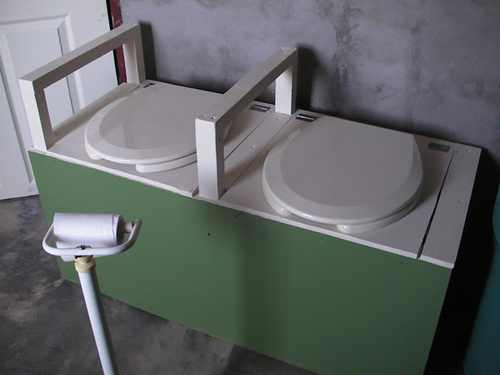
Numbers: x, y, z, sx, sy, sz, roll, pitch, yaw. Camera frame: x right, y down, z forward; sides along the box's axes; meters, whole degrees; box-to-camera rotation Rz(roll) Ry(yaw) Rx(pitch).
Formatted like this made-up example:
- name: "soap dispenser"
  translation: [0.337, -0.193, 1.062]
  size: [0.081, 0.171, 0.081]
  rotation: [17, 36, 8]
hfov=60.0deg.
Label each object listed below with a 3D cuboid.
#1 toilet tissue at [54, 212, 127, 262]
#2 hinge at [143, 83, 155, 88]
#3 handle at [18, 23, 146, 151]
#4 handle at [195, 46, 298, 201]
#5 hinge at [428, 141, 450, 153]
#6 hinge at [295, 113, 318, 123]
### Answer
- name: "toilet tissue"
  translation: [-0.376, 0.108, 1.007]
  size: [0.168, 0.097, 0.077]
  rotation: [0, 0, 5]
- name: "hinge"
  translation: [-0.402, -0.402, 1.701]
  size: [0.026, 0.007, 0.029]
  rotation: [26, 49, 28]
- name: "handle"
  translation: [-0.629, -0.405, 1.639]
  size: [0.067, 0.289, 0.525]
  rotation: [20, 51, 18]
- name: "handle"
  translation: [0.001, -0.203, 1.400]
  size: [0.101, 0.283, 0.548]
  rotation: [16, 55, 19]
- name: "hinge"
  translation: [0.626, -0.135, 1.425]
  size: [0.049, 0.012, 0.037]
  rotation: [16, 46, 25]
- name: "hinge"
  translation: [0.201, -0.254, 1.560]
  size: [0.049, 0.012, 0.035]
  rotation: [14, 40, 21]
